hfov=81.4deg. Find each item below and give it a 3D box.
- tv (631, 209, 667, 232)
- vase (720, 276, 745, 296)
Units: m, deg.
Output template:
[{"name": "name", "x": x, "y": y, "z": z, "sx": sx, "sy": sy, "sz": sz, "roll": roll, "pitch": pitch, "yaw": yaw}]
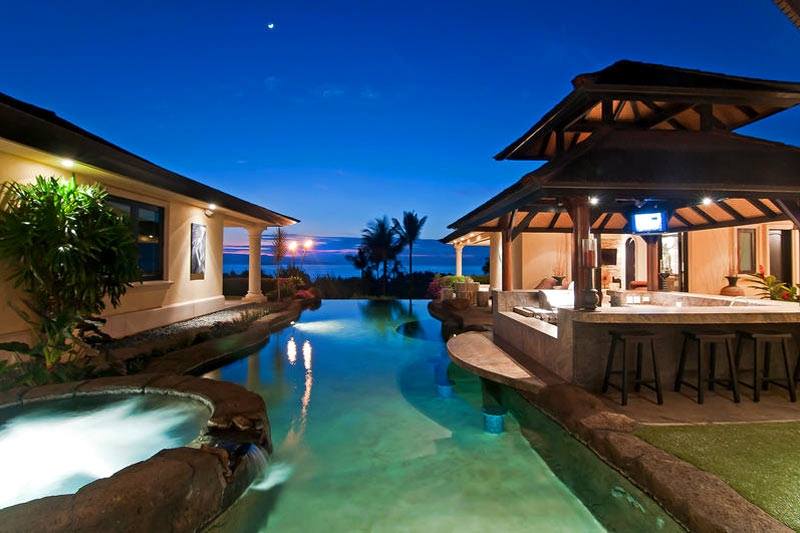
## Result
[{"name": "tv", "x": 6.353, "y": -1.120, "z": 11.865, "sx": 0.588, "sy": 0.640, "sz": 1.035, "roll": 2, "pitch": -3, "yaw": -40}, {"name": "vase", "x": 9.834, "y": 0.550, "z": 13.638, "sx": 0.649, "sy": 0.544, "sz": 0.572, "roll": 0, "pitch": -5, "yaw": -3}]
